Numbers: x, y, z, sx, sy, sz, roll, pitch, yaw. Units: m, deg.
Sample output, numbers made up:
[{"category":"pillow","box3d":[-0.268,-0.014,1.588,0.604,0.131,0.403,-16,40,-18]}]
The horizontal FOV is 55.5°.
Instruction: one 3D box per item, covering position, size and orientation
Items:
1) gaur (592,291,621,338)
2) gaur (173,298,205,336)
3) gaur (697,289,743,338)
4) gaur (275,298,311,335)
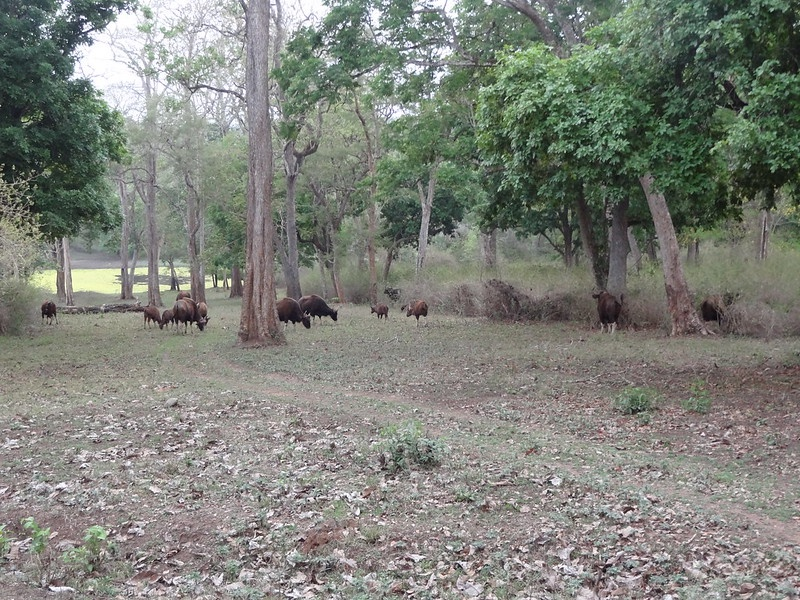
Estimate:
[{"category":"gaur","box3d":[7.071,0.412,25.834,0.801,1.376,2.158,0,3,1]},{"category":"gaur","box3d":[-8.695,0.629,31.312,1.208,1.427,1.152,0,12,16]},{"category":"gaur","box3d":[10.222,0.330,24.231,1.154,0.989,1.520,3,13,25]},{"category":"gaur","box3d":[-4.466,0.580,31.806,1.232,1.312,2.016,-5,12,-12]}]
